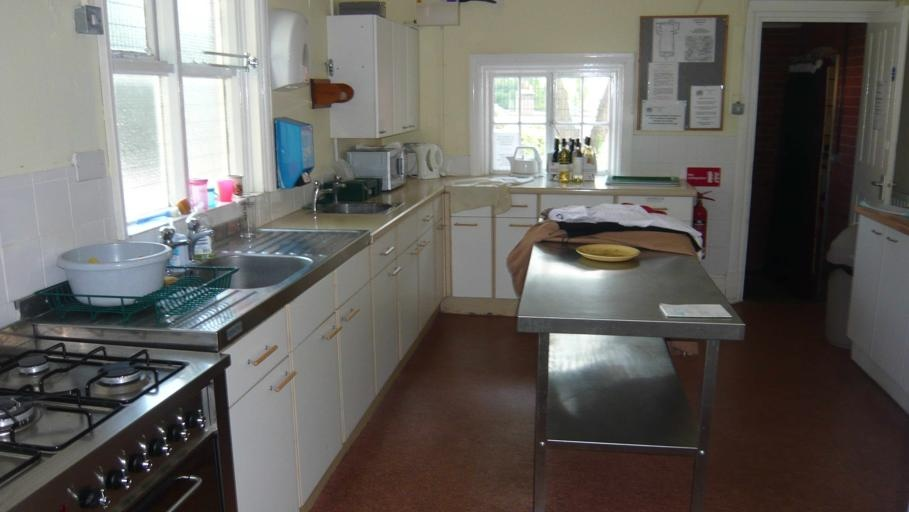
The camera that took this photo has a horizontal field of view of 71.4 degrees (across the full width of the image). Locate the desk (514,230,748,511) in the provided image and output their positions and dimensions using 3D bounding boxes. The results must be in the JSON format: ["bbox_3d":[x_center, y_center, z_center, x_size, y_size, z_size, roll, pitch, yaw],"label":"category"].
[{"bbox_3d":[0.957,0.711,3.816,1.134,1.217,1.064,1,18,7],"label":"desk"}]

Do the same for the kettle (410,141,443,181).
[{"bbox_3d":[-0.301,-0.949,6.336,0.396,0.326,0.273,3,5,-5],"label":"kettle"}]

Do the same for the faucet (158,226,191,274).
[{"bbox_3d":[-1.612,-0.032,3.598,0.079,0.254,0.202,-24,-10,-3],"label":"faucet"}]

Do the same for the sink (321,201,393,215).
[{"bbox_3d":[-0.823,-0.397,5.165,0.300,0.091,0.222,0,10,-6],"label":"sink"}]

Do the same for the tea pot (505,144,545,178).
[{"bbox_3d":[0.707,-0.970,6.372,0.342,0.292,0.386,1,18,7],"label":"tea pot"}]

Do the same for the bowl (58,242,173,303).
[{"bbox_3d":[-1.683,0.095,3.211,0.383,0.157,0.404,2,11,0],"label":"bowl"}]

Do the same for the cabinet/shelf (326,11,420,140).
[{"bbox_3d":[-0.742,-1.615,5.940,0.505,0.994,1.292,4,17,10],"label":"cabinet/shelf"}]

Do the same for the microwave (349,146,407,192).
[{"bbox_3d":[-0.735,-0.817,5.860,0.449,0.310,0.560,3,12,10],"label":"microwave"}]

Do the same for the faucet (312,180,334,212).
[{"bbox_3d":[-1.059,-0.507,5.130,0.170,0.248,0.414,-2,17,-3],"label":"faucet"}]

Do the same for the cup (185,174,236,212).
[{"bbox_3d":[-1.580,-0.416,4.104,0.201,0.093,0.255,3,19,4],"label":"cup"}]
